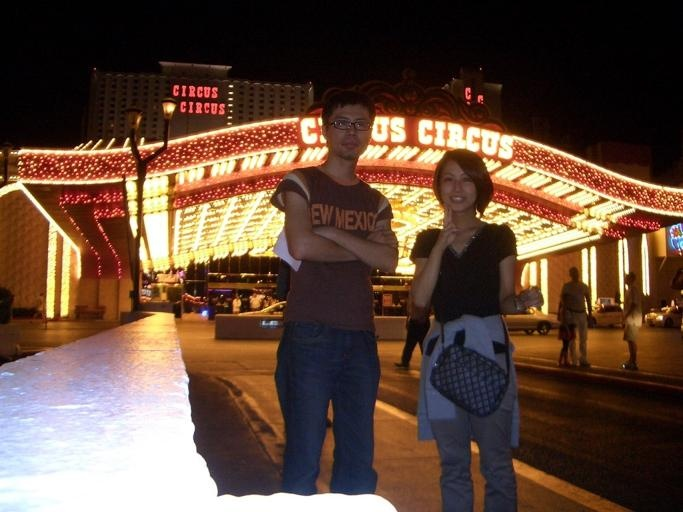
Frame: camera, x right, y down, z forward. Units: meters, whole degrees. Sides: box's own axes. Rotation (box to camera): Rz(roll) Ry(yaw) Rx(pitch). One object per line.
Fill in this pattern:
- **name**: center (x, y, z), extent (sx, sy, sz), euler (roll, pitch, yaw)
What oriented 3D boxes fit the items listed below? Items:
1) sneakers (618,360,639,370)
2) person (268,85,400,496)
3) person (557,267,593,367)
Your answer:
- **sneakers**: center (5.770, 2.251, 11.615), extent (0.164, 0.194, 0.417), euler (0, 1, -8)
- **person**: center (-0.021, 0.360, 3.062), extent (0.653, 1.719, 0.469), euler (1, -1, -17)
- **person**: center (5.103, 1.340, 12.649), extent (0.654, 2.150, 1.354), euler (0, -1, 21)
